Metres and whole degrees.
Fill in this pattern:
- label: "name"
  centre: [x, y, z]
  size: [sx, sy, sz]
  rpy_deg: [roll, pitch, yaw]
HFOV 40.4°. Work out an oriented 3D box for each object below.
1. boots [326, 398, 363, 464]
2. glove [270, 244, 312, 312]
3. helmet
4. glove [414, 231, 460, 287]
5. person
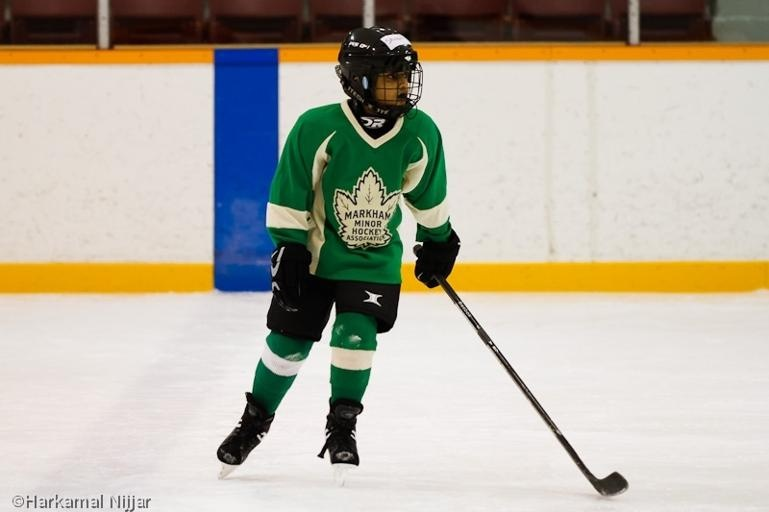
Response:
- label: "boots"
  centre: [-0.203, 0.873, 5.170]
  size: [0.198, 0.315, 0.207]
  rpy_deg: [0, 7, -21]
- label: "glove"
  centre: [-0.460, 0.112, 5.140]
  size: [0.194, 0.322, 0.131]
  rpy_deg: [-1, -4, 41]
- label: "helmet"
  centre: [-0.037, -0.967, 5.316]
  size: [0.438, 0.412, 0.363]
  rpy_deg: [17, 26, 30]
- label: "glove"
  centre: [0.261, 0.029, 5.387]
  size: [0.219, 0.293, 0.114]
  rpy_deg: [19, 12, 0]
- label: "person"
  centre: [-0.189, -0.033, 5.196]
  size: [1.086, 2.205, 0.427]
  rpy_deg: [2, 6, -1]
